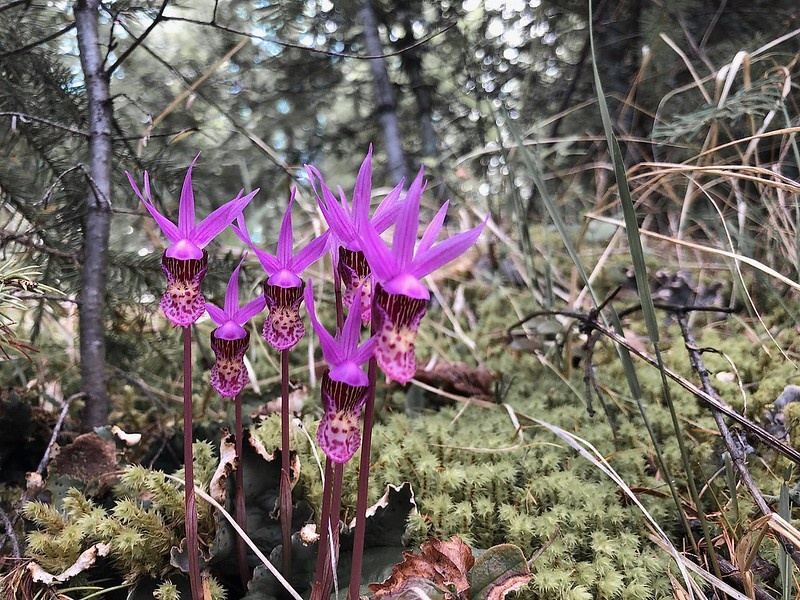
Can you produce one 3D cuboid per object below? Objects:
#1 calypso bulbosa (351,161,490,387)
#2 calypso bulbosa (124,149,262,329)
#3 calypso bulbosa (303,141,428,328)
[{"bbox_3d":[0.063,-0.059,2.367,0.354,0.578,0.201,-2,-12,6],"label":"calypso bulbosa"},{"bbox_3d":[-0.615,-0.173,2.591,0.320,0.509,0.255,0,-12,-2],"label":"calypso bulbosa"},{"bbox_3d":[-0.122,-0.149,2.525,0.319,0.478,0.293,23,-22,-39],"label":"calypso bulbosa"}]
